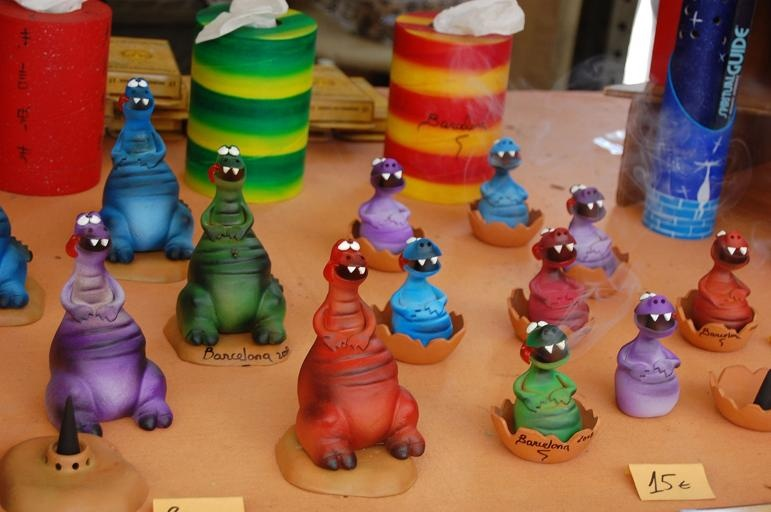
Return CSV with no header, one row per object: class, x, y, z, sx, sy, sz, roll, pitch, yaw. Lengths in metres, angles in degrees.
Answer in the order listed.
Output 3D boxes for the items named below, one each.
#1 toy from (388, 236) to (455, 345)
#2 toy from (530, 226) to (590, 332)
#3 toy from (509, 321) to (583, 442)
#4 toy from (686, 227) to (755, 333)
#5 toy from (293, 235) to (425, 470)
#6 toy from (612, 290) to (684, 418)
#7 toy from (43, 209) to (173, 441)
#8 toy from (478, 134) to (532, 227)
toy,0.097,0.101,2.145,0.191,0.296,0.166,-5,10,-22
toy,0.494,0.045,2.237,0.173,0.299,0.263,8,33,14
toy,0.380,0.296,1.851,0.167,0.263,0.158,8,33,15
toy,0.942,0.077,2.260,0.204,0.299,0.184,4,8,14
toy,-0.092,0.223,1.780,0.256,0.443,0.230,-24,39,-32
toy,0.681,0.236,2.017,0.207,0.307,0.166,-2,32,-2
toy,-0.655,0.175,1.803,0.266,0.478,0.248,-22,38,-30
toy,0.382,-0.236,2.625,0.190,0.326,0.171,-3,20,-1
